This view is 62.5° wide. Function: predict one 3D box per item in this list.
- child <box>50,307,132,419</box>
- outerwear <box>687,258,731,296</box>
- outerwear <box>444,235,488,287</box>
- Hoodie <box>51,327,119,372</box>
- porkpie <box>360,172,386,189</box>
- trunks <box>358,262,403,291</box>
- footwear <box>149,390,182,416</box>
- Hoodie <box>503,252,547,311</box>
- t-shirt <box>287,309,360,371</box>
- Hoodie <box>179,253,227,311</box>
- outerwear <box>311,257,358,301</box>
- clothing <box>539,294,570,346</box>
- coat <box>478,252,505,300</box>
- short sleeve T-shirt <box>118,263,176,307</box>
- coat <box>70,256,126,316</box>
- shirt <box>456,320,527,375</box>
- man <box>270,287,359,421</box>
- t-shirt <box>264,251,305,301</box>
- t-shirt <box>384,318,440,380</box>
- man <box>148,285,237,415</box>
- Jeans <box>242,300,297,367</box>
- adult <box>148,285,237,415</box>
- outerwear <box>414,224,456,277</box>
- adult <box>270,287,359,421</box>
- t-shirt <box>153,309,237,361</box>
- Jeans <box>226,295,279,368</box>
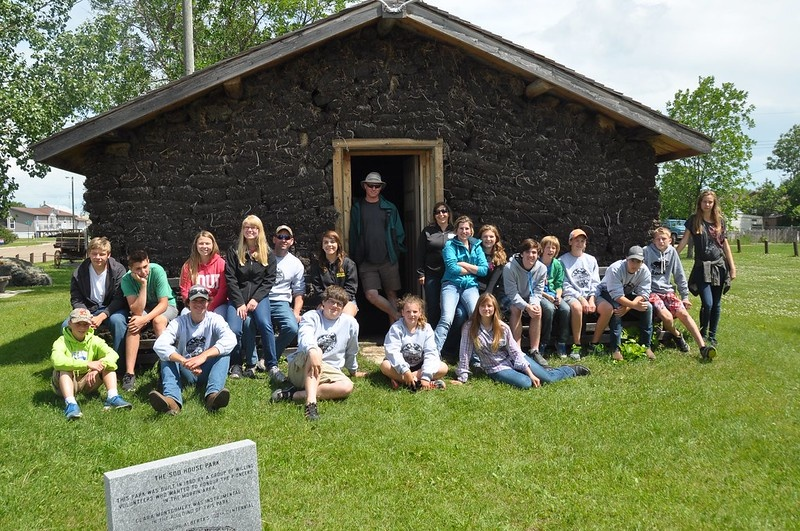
[{"bbox_3d":[-4.372,1.326,9.200,0.856,1.416,0.727,0,2,-28],"label":"child"},{"bbox_3d":[5.567,0.139,11.573,0.361,0.608,0.655,-7,7,-34],"label":"outerwear"},{"bbox_3d":[1.095,-0.062,11.124,0.732,0.859,0.554,3,10,-18],"label":"outerwear"},{"bbox_3d":[-4.441,1.239,9.245,0.634,0.541,0.768,3,14,-31],"label":"Hoodie"},{"bbox_3d":[-0.536,-1.613,12.493,0.599,0.281,0.731,2,-10,-3],"label":"porkpie"},{"bbox_3d":[-0.358,0.071,11.943,0.816,0.751,0.452,0,-1,-9],"label":"trunks"},{"bbox_3d":[-3.145,1.860,8.881,0.194,0.520,0.226,-17,29,8],"label":"footwear"},{"bbox_3d":[2.065,0.318,10.882,0.690,0.847,0.736,2,19,8],"label":"Hoodie"},{"bbox_3d":[-0.989,1.163,9.704,0.984,0.997,0.845,4,18,-2],"label":"t-shirt"},{"bbox_3d":[-2.964,0.250,10.126,0.645,0.838,0.355,2,-8,-12],"label":"Hoodie"},{"bbox_3d":[-1.075,0.221,10.987,0.839,0.793,0.494,2,18,19],"label":"outerwear"},{"bbox_3d":[2.665,0.937,11.212,0.446,0.834,0.818,2,2,20],"label":"clothing"},{"bbox_3d":[1.596,0.158,11.097,0.556,0.690,0.285,-4,15,-41],"label":"coat"},{"bbox_3d":[-3.904,0.276,10.202,0.573,0.683,0.672,-4,11,-30],"label":"short sleeve T-shirt"},{"bbox_3d":[-4.621,0.308,10.177,0.841,0.895,0.595,6,9,3],"label":"coat"},{"bbox_3d":[1.356,1.170,10.129,1.161,1.068,0.634,-7,16,4],"label":"shirt"},{"bbox_3d":[-1.121,1.147,9.736,1.148,1.670,2.207,5,2,17],"label":"man"},{"bbox_3d":[-1.893,0.184,10.650,0.609,0.729,0.322,12,-30,3],"label":"t-shirt"},{"bbox_3d":[0.155,1.262,10.082,0.778,0.829,0.828,6,13,-14],"label":"t-shirt"},{"bbox_3d":[-2.930,1.227,9.652,1.085,1.421,1.799,3,5,-15],"label":"man"},{"bbox_3d":[-2.042,1.037,10.244,1.068,1.061,0.379,0,-1,-10],"label":"Jeans"},{"bbox_3d":[-2.880,1.127,9.213,1.088,1.478,1.936,-1,9,-16],"label":"adult"},{"bbox_3d":[0.634,-0.245,11.262,0.844,0.975,0.528,1,-9,-12],"label":"outerwear"},{"bbox_3d":[-1.119,1.151,9.706,1.059,1.681,2.206,5,2,13],"label":"adult"},{"bbox_3d":[-2.818,0.995,9.350,1.052,0.641,1.298,1,8,-1],"label":"t-shirt"},{"bbox_3d":[-2.219,0.965,10.400,0.635,1.406,0.809,-3,-29,-26],"label":"Jeans"}]
